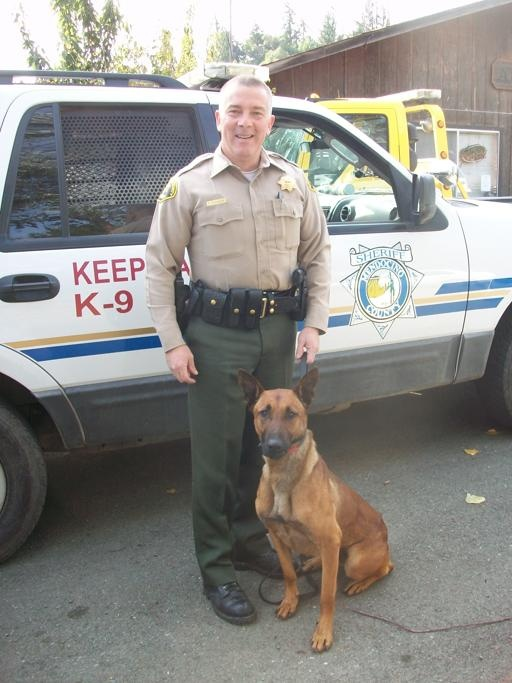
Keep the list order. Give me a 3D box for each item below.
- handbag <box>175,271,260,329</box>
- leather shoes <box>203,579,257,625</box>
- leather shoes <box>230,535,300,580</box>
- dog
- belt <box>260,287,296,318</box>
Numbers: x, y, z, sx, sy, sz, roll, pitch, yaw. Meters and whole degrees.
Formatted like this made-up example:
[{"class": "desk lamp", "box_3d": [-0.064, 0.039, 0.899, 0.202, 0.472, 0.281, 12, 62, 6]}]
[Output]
[{"class": "handbag", "box_3d": [-0.136, -0.141, 2.009, 0.219, 0.123, 0.172, 9, 5, 10]}, {"class": "leather shoes", "box_3d": [-0.090, 0.907, 2.115, 0.081, 0.085, 0.209, -5, 1, -29]}, {"class": "leather shoes", "box_3d": [0.067, 0.836, 2.429, 0.287, 0.193, 0.121, 7, 5, 13]}, {"class": "dog", "box_3d": [0.228, 0.511, 2.019, 0.548, 0.883, 0.324, -11, 13, -37]}, {"class": "belt", "box_3d": [0.062, -0.136, 2.043, 0.097, 0.063, 0.126, -1, 1, -12]}]
